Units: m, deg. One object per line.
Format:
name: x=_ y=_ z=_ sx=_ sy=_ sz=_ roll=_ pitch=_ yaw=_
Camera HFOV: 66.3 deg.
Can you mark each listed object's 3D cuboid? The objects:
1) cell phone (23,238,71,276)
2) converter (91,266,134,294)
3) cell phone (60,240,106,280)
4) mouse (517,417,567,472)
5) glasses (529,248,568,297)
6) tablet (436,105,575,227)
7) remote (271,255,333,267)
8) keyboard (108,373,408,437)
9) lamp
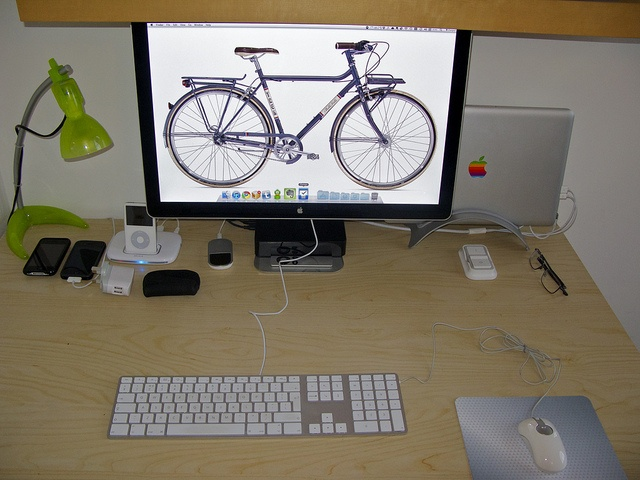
cell phone: x=-0.744 y=0.048 z=1.340 sx=0.093 sy=0.017 sz=0.148 roll=3 pitch=43 yaw=-7
converter: x=-0.528 y=0.099 z=1.254 sx=0.096 sy=0.032 sz=0.063 roll=0 pitch=43 yaw=-5
cell phone: x=-0.650 y=0.055 z=1.341 sx=0.105 sy=0.027 sz=0.159 roll=10 pitch=39 yaw=-11
mouse: x=0.452 y=0.411 z=0.989 sx=0.069 sy=0.046 sz=0.104 roll=-7 pitch=33 yaw=-15
glasses: x=0.615 y=0.091 z=1.350 sx=0.095 sy=0.094 sz=0.093 roll=-1 pitch=31 yaw=3
tablet: x=0.544 y=-0.243 z=1.455 sx=0.342 sy=0.285 sz=0.193 roll=4 pitch=32 yaw=0
remote: x=-0.037 y=0.060 z=1.339 sx=0.107 sy=0.010 sz=0.032 roll=1 pitch=56 yaw=0
keyboard: x=-0.127 y=0.351 z=1.039 sx=0.607 sy=0.048 sz=0.123 roll=1 pitch=32 yaw=-3
lamp: x=-0.720 y=-0.165 z=1.344 sx=0.236 sy=0.594 sz=0.300 roll=-12 pitch=40 yaw=-23
